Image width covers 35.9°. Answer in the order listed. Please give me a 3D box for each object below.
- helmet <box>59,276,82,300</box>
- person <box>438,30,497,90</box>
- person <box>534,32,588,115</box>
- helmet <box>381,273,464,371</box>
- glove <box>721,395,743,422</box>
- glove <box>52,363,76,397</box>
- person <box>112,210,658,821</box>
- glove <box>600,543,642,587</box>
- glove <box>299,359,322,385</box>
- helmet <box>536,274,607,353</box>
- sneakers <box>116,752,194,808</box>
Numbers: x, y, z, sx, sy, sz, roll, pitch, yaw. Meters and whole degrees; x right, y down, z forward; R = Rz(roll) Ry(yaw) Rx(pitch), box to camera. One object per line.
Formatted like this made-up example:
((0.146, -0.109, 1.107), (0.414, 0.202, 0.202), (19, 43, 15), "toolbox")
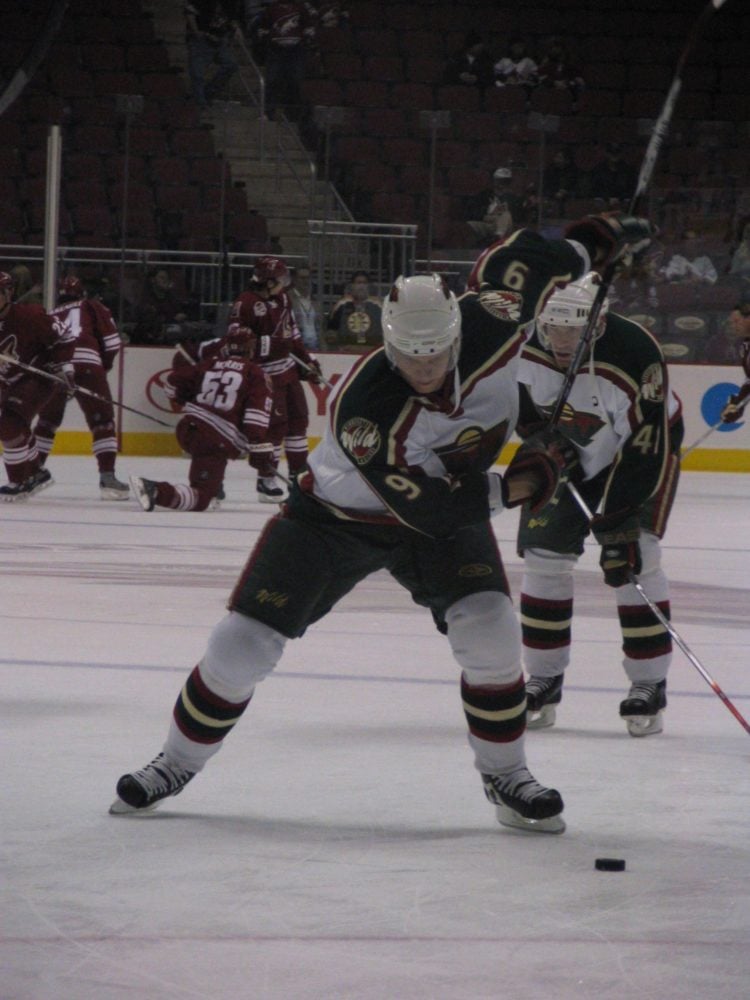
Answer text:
((-2.342, -1.614, 8.847), (0.168, 0.184, 0.133), (-1, 19, -13), "helmet")
((1.189, -5.421, 14.180), (0.362, 0.643, 0.599), (-14, 24, -41), "person")
((2.251, -5.193, 14.039), (0.559, 0.912, 0.582), (5, 19, 5), "person")
((0.074, -0.352, 2.163), (0.176, 0.154, 0.177), (-1, 40, -2), "helmet")
((2.796, -0.720, 9.124), (0.111, 0.170, 0.153), (6, -13, 40), "glove")
((-2.252, -0.878, 8.348), (0.118, 0.262, 0.241), (-2, 18, -15), "glove")
((-0.010, 0.019, 2.426), (0.904, 1.233, 0.754), (4, 19, 3), "person")
((0.628, 0.166, 2.959), (0.099, 0.069, 0.136), (4, -17, 8), "glove")
((-0.530, -1.063, 9.557), (0.083, 0.129, 0.203), (-14, -3, 1), "glove")
((0.519, -0.498, 3.043), (0.189, 0.182, 0.207), (12, 40, 25), "helmet")
((-0.445, 0.566, 2.350), (0.063, 0.075, 0.181), (49, 21, 11), "sneakers")
